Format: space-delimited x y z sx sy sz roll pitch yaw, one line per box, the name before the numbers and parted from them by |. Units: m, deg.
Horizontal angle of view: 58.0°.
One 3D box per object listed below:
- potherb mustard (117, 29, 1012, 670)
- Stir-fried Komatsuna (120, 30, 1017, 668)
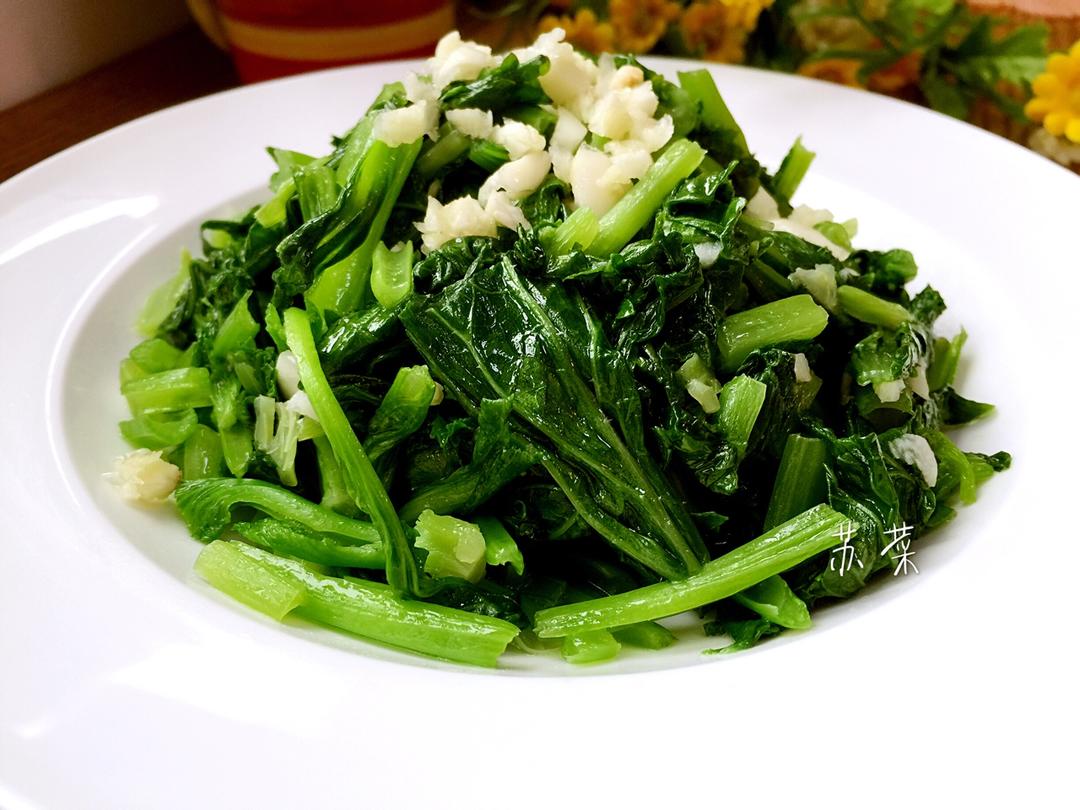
potherb mustard | 0.021 -0.062 2.967 1.827 0.769 1.845 -3 41 -4
Stir-fried Komatsuna | 0.126 -0.181 3.020 1.905 1.442 1.781 4 103 5
